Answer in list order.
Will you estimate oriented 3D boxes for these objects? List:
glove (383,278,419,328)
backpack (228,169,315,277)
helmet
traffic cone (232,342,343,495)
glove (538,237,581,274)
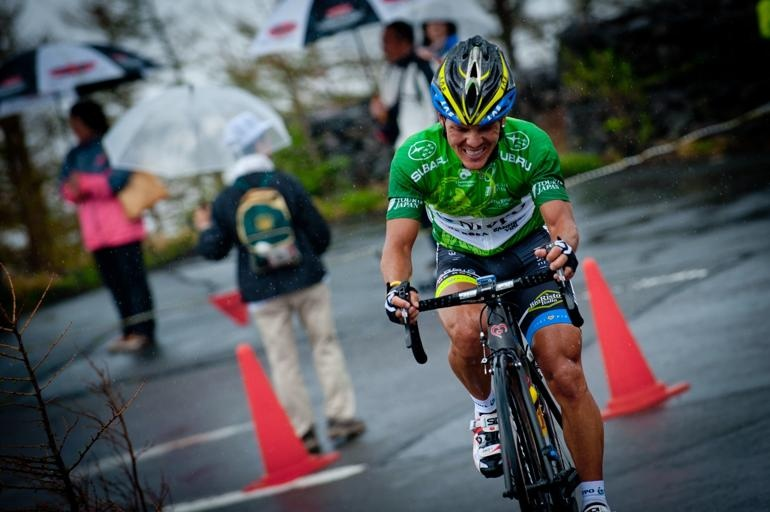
[{"bbox_3d":[0.078,0.339,5.372,0.220,0.319,0.107,3,-7,-36],"label":"glove"},{"bbox_3d":[-1.056,-0.281,6.550,0.520,0.742,0.350,-9,-25,-7],"label":"backpack"},{"bbox_3d":[0.649,-1.239,5.493,0.484,0.713,0.254,4,-24,6],"label":"helmet"},{"bbox_3d":[-0.894,1.328,6.408,0.638,1.173,0.378,-8,-25,-8],"label":"traffic cone"},{"bbox_3d":[1.217,-0.016,5.170,0.168,0.277,0.278,-23,-28,21],"label":"glove"}]
